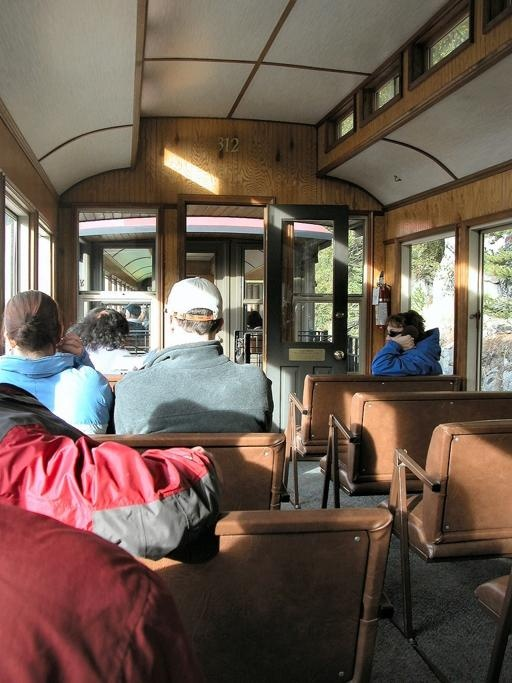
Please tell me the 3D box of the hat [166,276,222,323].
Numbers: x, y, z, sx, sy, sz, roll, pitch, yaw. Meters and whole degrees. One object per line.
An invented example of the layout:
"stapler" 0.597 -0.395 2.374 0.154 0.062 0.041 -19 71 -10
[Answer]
"hat" -0.219 -0.168 1.907 0.163 0.114 0.200 0 13 -10

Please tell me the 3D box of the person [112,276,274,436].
"person" -0.218 0.192 1.816 0.536 0.847 0.440 0 1 -12
